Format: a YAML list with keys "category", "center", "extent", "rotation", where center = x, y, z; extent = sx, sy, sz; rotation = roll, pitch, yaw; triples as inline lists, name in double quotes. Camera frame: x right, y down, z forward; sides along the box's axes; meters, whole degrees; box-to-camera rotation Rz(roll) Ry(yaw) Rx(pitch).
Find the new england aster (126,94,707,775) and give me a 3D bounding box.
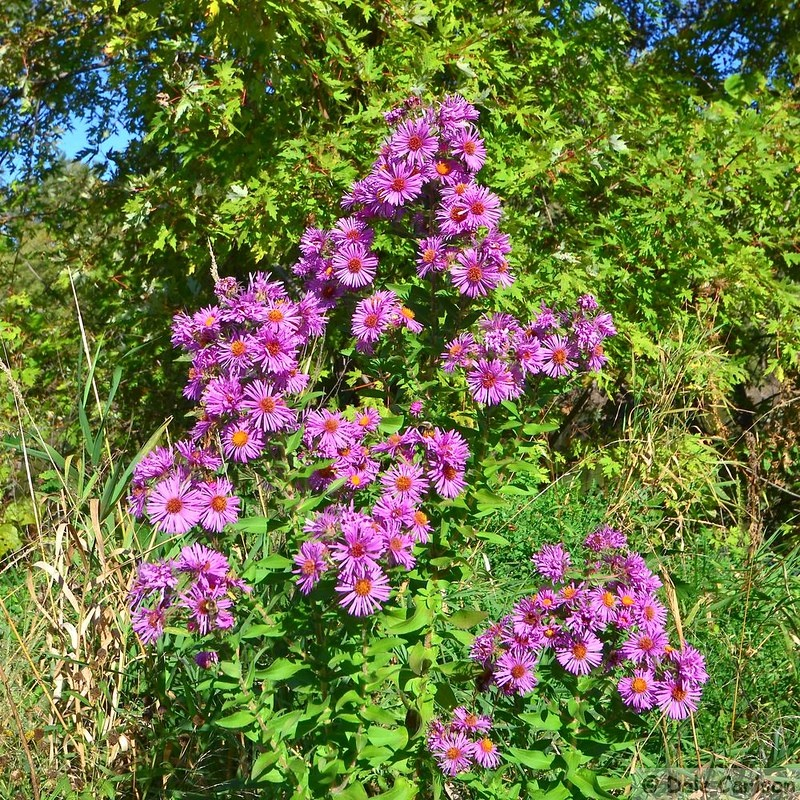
- category: "new england aster"
  center: [0.140, 0.233, 2.761]
  extent: [1.651, 1.219, 1.670]
  rotation: [30, 64, 2]
